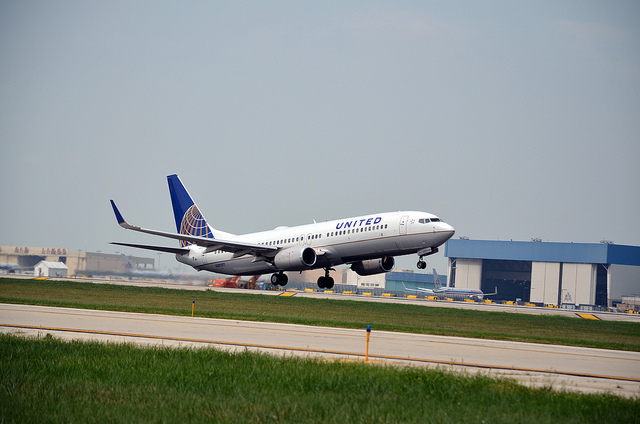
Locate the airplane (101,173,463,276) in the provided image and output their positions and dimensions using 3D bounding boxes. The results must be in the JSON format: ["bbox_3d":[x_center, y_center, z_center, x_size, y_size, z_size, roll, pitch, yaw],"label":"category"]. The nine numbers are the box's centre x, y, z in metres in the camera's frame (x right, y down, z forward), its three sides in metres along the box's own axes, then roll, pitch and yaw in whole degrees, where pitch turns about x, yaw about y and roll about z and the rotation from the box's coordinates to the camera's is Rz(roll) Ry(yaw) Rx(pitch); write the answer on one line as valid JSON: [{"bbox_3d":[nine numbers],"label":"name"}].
[{"bbox_3d":[-1.859,0.949,84.740,26.132,8.018,31.405,-7,-8,28],"label":"airplane"}]
